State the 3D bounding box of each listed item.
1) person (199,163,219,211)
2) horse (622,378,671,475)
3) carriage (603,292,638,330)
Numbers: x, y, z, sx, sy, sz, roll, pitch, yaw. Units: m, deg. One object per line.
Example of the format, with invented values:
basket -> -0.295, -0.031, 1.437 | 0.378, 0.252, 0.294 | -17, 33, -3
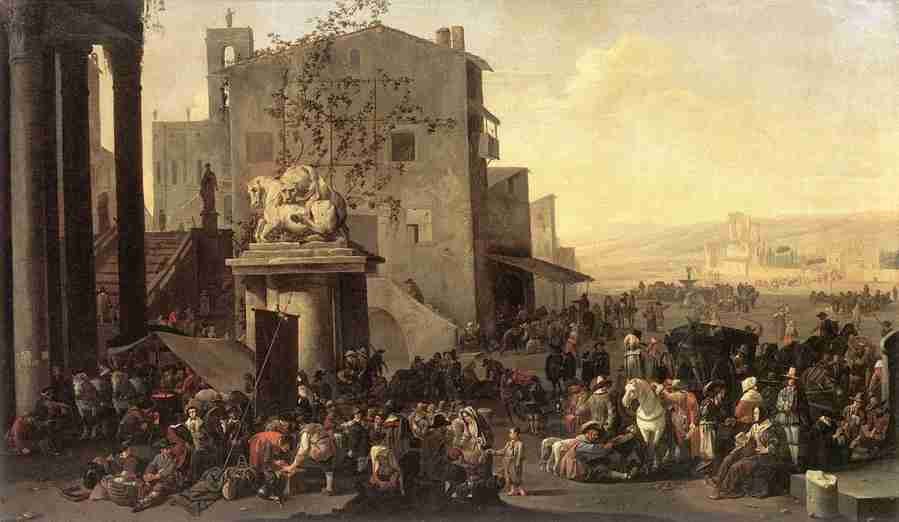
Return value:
person -> -6.079, -1.854, 32.487 | 0.483, 1.230, 0.327 | 1, -6, -3
horse -> 4.511, 3.574, 27.867 | 0.911, 1.824, 3.162 | -11, -15, 24
carriage -> 4.116, 1.174, 30.768 | 0.831, 0.747, 0.932 | 0, -5, 29
